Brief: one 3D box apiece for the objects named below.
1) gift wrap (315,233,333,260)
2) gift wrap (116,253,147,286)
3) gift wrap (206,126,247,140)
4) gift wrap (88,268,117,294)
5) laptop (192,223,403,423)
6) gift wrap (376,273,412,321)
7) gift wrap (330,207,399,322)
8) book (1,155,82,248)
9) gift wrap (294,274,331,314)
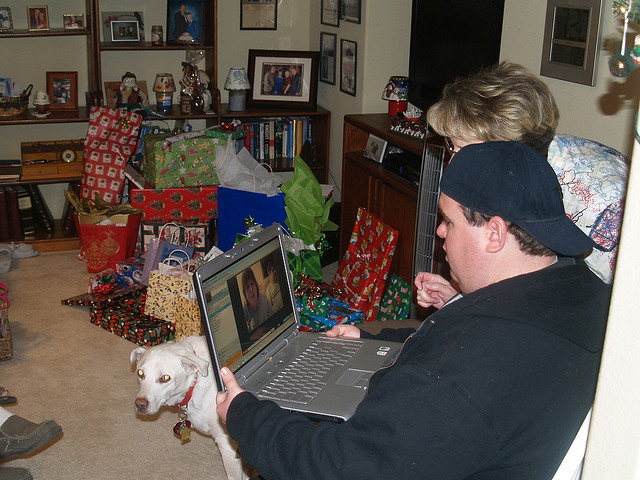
[{"bbox_3d":[0.026,0.034,3.393,0.129,0.133,0.187,-5,36,7],"label":"gift wrap"},{"bbox_3d":[-1.270,0.210,3.544,0.205,0.128,0.209,2,34,-2],"label":"gift wrap"},{"bbox_3d":[-0.709,-0.810,3.922,0.185,0.047,0.197,9,18,33],"label":"gift wrap"},{"bbox_3d":[-1.439,0.272,3.411,0.166,0.061,0.130,-27,62,-5],"label":"gift wrap"},{"bbox_3d":[-0.064,0.275,1.448,0.510,0.385,0.522,8,27,16],"label":"laptop"},{"bbox_3d":[0.419,0.318,2.903,0.025,0.252,0.223,13,11,-26],"label":"gift wrap"},{"bbox_3d":[0.279,0.153,3.051,0.069,0.673,0.406,5,25,-39],"label":"gift wrap"},{"bbox_3d":[-2.238,-0.340,4.188,0.617,0.642,0.671,-8,18,-25],"label":"book"},{"bbox_3d":[-0.051,0.313,2.947,0.175,0.053,0.166,27,-13,45],"label":"gift wrap"}]
